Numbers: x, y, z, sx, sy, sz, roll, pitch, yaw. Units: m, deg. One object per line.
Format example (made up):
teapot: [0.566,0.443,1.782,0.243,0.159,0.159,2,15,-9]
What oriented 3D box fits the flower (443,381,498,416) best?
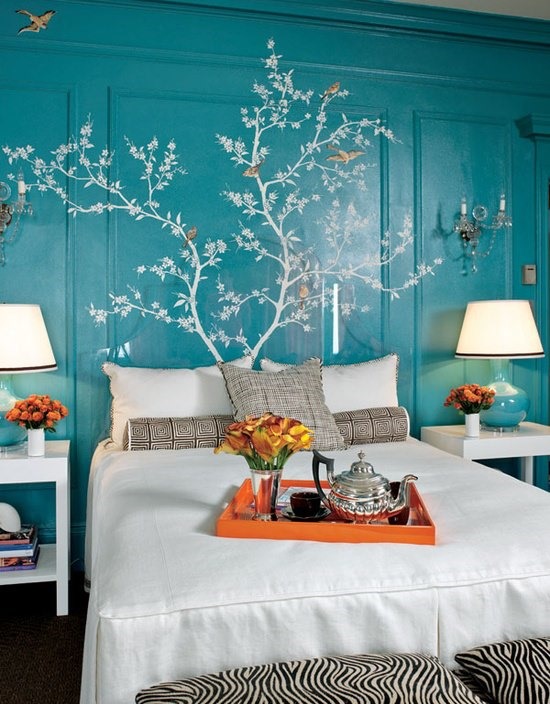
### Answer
flower: [0.962,0.226,3.236,0.182,0.148,0.183,2,-11,-21]

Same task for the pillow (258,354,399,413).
pillow: [0.097,0.160,3.162,0.151,0.297,0.498,5,-7,-39]

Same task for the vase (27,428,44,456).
vase: [-0.952,0.358,2.579,0.063,0.111,0.040,-3,2,-11]

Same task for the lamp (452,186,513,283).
lamp: [1.118,-0.635,3.600,0.476,0.466,0.375,0,3,-10]

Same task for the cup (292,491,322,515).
cup: [0.081,0.388,1.659,0.064,0.041,0.058,-1,3,0]

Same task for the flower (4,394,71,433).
flower: [-0.950,0.220,2.587,0.186,0.119,0.188,4,-1,37]

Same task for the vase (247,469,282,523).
vase: [-0.024,0.366,1.700,0.095,0.139,0.093,2,1,-29]

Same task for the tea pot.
tea pot: [0.237,0.323,1.681,0.243,0.167,0.190,1,1,-13]
